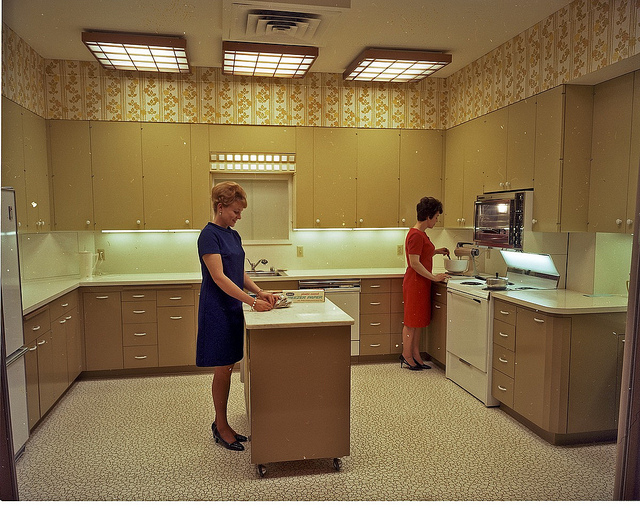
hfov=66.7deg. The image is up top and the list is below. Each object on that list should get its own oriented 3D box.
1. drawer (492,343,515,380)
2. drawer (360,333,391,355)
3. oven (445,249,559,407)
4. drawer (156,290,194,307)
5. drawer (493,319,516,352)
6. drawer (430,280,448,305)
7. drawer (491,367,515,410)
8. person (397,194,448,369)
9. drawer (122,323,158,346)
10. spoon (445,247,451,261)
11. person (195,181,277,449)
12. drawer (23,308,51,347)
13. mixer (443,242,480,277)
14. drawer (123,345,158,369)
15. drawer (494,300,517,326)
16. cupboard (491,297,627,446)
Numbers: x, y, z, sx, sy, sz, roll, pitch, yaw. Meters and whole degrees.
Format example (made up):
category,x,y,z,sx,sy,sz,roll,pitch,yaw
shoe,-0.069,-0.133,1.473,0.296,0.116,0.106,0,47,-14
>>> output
category,x,y,z,sx,sy,sz,roll,pitch,yaw
drawer,1.586,0.932,4.205,0.184,0.153,0.189,0,1,-12
drawer,0.625,1.017,5.424,0.246,0.172,0.269,0,0,-7
oven,1.639,0.642,4.760,0.622,1.313,0.701,-3,7,-17
drawer,-1.544,0.467,5.139,0.213,0.150,0.232,1,0,-14
drawer,1.589,0.693,4.188,0.169,0.279,0.183,1,0,-10
drawer,1.273,0.422,5.222,0.170,0.272,0.253,0,2,-9
drawer,1.573,1.165,4.222,0.211,0.174,0.216,2,3,-13
person,1.101,0.309,5.462,0.427,1.894,0.865,1,9,10
drawer,-1.889,0.848,5.107,0.241,0.170,0.262,0,0,-16
spoon,1.475,0.002,5.620,0.021,0.154,0.023,-21,-9,-39
person,-0.646,0.469,3.794,0.533,2.028,0.582,0,9,3
drawer,-2.295,0.590,3.936,0.159,0.178,0.279,-1,5,-5
mixer,1.613,0.071,5.336,0.339,0.380,0.387,-3,6,-42
drawer,-1.905,1.073,5.120,0.248,0.174,0.270,0,-1,-13
drawer,1.589,0.506,4.175,0.138,0.093,0.145,0,2,-12
cupboard,2.033,0.947,4.176,0.795,1.053,1.013,1,2,-19
